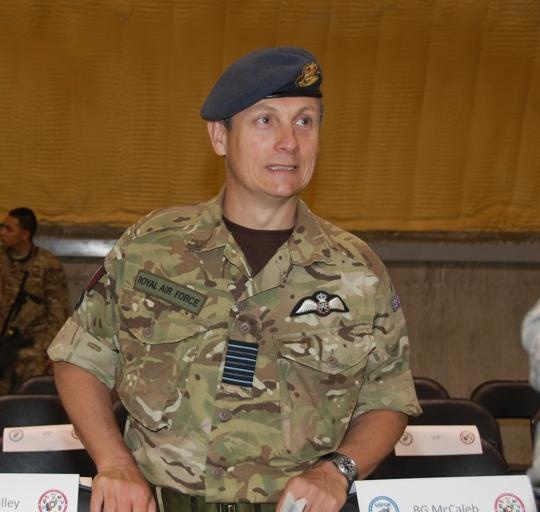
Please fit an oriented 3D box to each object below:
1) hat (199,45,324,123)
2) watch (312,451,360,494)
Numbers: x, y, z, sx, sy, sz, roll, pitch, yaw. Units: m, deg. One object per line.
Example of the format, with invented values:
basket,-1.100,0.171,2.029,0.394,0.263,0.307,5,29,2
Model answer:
hat,-0.029,-0.407,1.448,0.291,0.101,0.196,-6,24,7
watch,0.122,0.412,1.269,0.077,0.064,0.049,-7,-24,42
